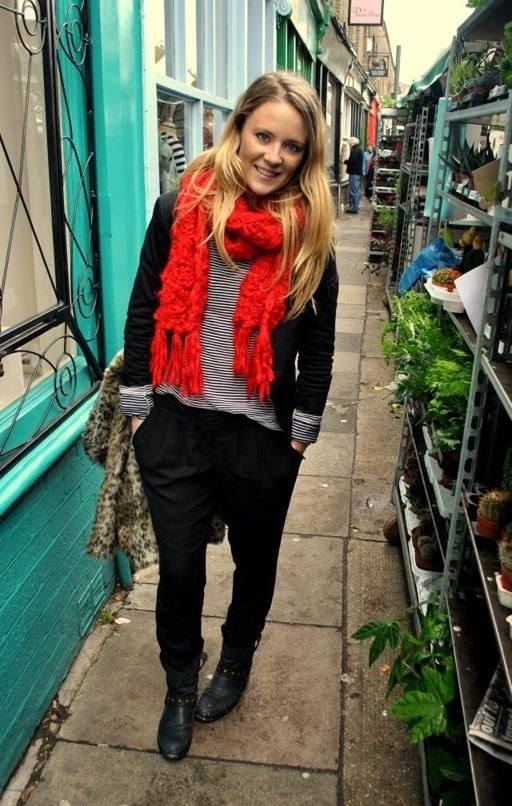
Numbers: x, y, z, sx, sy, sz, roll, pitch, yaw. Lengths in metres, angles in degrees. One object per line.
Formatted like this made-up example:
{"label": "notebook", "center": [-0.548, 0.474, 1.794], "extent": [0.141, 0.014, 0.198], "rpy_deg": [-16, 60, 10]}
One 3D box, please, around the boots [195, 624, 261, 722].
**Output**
{"label": "boots", "center": [-0.061, 0.829, 1.711], "extent": [0.114, 0.179, 0.406], "rpy_deg": [11, 30, 19]}

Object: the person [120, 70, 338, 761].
{"label": "person", "center": [-0.076, 0.164, 1.337], "extent": [0.509, 1.773, 0.437], "rpy_deg": [6, 8, 28]}

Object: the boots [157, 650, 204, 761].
{"label": "boots", "center": [-0.218, 0.870, 1.506], "extent": [0.084, 0.134, 0.305], "rpy_deg": [3, 21, 6]}
